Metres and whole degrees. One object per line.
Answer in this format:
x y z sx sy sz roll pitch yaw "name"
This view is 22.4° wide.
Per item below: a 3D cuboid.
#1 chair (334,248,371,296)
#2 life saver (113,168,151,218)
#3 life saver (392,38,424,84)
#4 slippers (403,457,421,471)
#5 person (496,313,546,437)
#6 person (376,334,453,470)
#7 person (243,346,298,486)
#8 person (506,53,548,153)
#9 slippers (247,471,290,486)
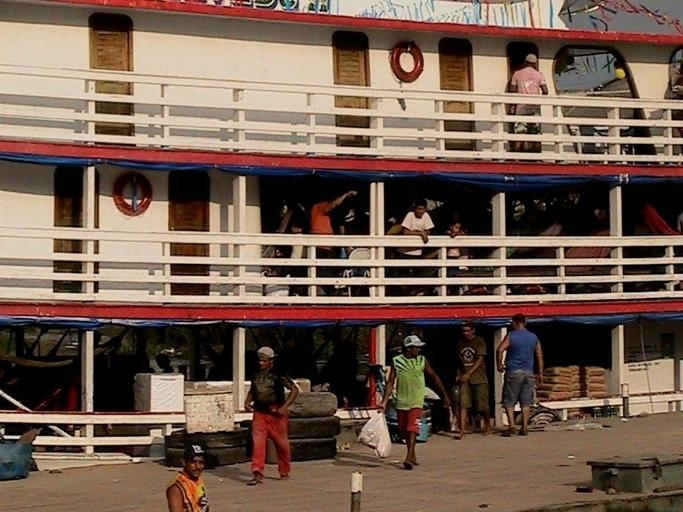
0.274 0.357 38.816 0.611 1.152 0.623 -2 3 -42 "chair"
-4.671 -1.345 38.226 0.930 0.909 0.315 3 3 -13 "life saver"
1.480 -4.499 39.985 0.796 0.950 0.247 0 -6 -28 "life saver"
1.373 4.106 33.817 0.127 0.220 0.369 5 5 24 "slippers"
3.743 2.550 36.587 1.038 2.505 0.688 2 -2 2 "person"
1.374 2.881 34.041 1.115 2.621 1.108 1 -2 -17 "person"
-1.384 3.075 32.927 0.987 2.613 0.615 -2 -5 -10 "person"
4.276 -3.622 40.042 0.920 2.390 1.406 -4 -5 5 "person"
-1.451 4.291 32.939 0.836 0.213 0.286 0 -6 -32 "slippers"
